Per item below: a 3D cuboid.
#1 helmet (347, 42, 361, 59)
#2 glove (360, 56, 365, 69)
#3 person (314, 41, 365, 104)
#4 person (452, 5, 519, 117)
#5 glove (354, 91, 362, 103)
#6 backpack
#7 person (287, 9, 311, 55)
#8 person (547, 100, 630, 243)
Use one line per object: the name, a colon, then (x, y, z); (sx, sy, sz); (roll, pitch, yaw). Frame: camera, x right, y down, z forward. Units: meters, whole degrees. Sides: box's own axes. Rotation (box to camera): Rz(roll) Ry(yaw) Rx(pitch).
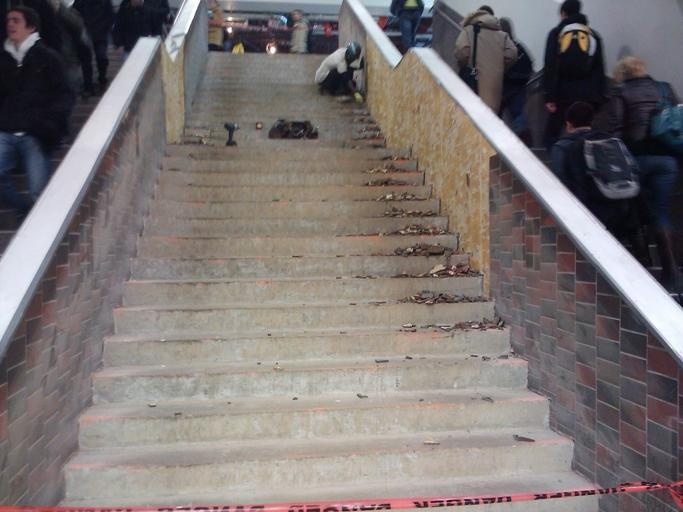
helmet: (0.137, -2.566, 8.588); (0.153, 0.236, 0.226); (2, 22, -2)
glove: (0.266, -2.430, 8.614); (0.028, 0.120, 0.118); (6, 0, -23)
person: (0.000, -2.308, 8.763); (0.785, 0.891, 0.584); (3, 37, 2)
person: (1.402, -1.948, 6.852); (0.647, 0.873, 0.587); (25, 41, 16)
glove: (0.224, -2.001, 8.658); (0.102, 0.119, 0.190); (5, 41, -8)
backpack: (1.971, -0.655, 5.102); (0.451, 0.207, 0.708); (-7, 35, -3)
person: (-0.809, -4.291, 13.328); (0.372, 0.776, 0.892); (6, 40, -6)
person: (1.921, -0.728, 5.161); (0.648, 0.332, 0.998); (-5, 40, -5)
